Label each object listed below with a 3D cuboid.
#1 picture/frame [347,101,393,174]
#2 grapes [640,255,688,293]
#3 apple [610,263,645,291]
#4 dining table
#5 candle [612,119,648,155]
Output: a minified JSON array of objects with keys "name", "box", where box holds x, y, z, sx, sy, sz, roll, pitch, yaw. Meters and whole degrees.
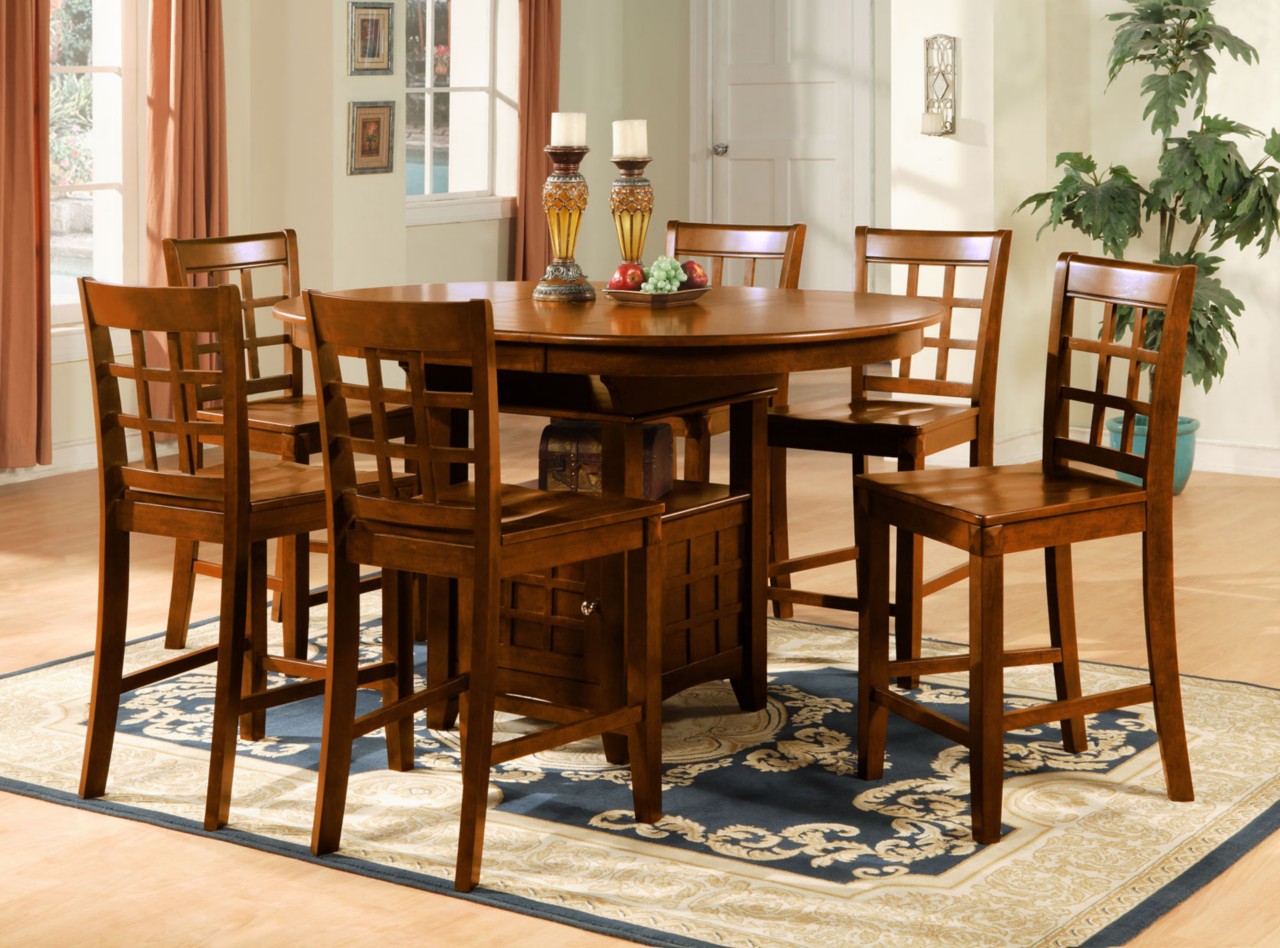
[{"name":"picture/frame","box":[-1.395,-1.757,6.240,0.038,0.387,0.463,13,15,34]},{"name":"grapes","box":[0.035,-0.528,3.191,0.141,0.077,0.122,5,17,33]},{"name":"apple","box":[-0.025,-0.537,3.284,0.105,0.073,0.085,0,4,-1]},{"name":"dining table","box":[0.090,0.130,3.066,1.572,0.738,1.449,5,7,41]},{"name":"candle","box":[-0.022,-0.917,3.304,0.085,0.114,0.206,-1,12,-2]}]
